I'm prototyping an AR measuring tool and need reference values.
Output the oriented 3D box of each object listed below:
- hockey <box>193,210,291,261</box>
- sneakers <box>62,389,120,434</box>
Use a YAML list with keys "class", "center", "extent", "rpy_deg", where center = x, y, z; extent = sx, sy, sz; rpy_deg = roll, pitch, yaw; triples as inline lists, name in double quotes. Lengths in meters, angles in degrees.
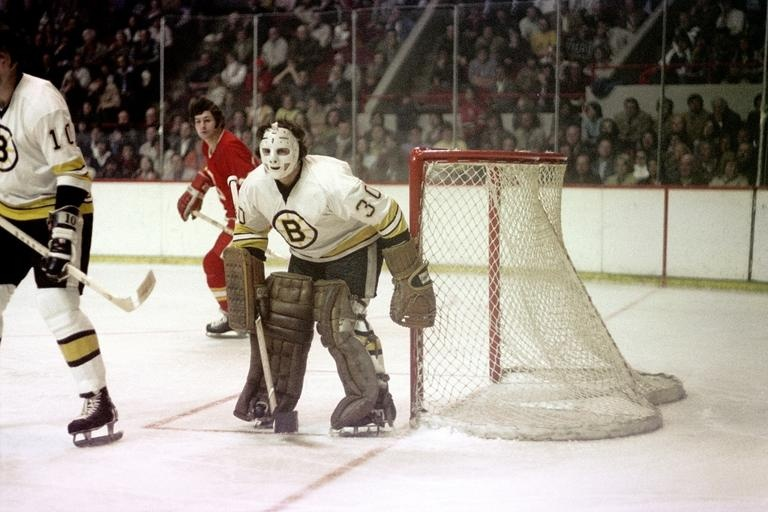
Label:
- class: "hockey"
  center: [-1.106, -0.158, 6.393]
  extent: [0.194, 0.143, 1.271]
  rpy_deg: [-18, 36, -39]
- class: "sneakers"
  center: [-1.593, 0.849, 4.435]
  extent: [0.251, 0.237, 0.141]
  rpy_deg: [-4, 11, -21]
